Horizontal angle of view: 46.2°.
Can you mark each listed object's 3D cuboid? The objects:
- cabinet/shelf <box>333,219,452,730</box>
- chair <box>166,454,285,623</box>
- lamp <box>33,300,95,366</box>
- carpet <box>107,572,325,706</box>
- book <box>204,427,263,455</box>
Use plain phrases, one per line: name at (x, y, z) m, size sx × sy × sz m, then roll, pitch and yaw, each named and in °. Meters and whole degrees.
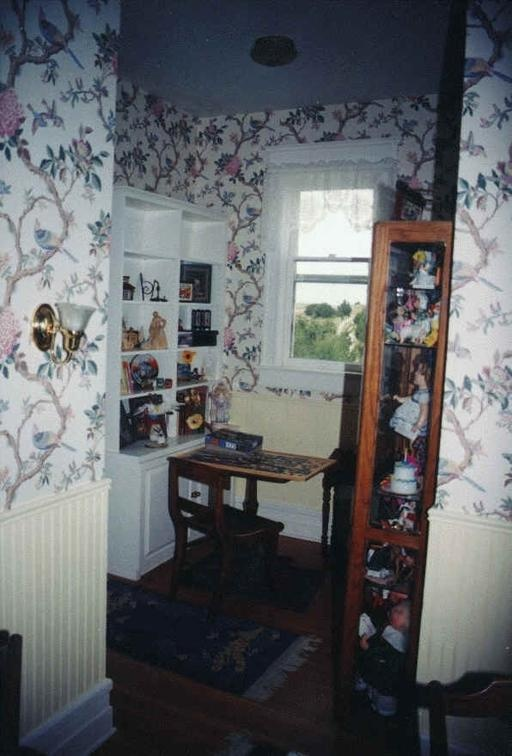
cabinet/shelf at (0.439, 0.322, 2.043) m, size 0.389 × 1.670 × 0.236 m, roll 6°, pitch 6°, yaw 34°
chair at (-0.148, 0.702, 2.873) m, size 0.496 × 0.673 × 0.487 m, roll 5°, pitch 8°, yaw 20°
lamp at (-0.524, -0.123, 1.608) m, size 0.165 × 0.198 × 0.152 m, roll 7°, pitch 9°, yaw 19°
carpet at (-0.275, 1.062, 2.510) m, size 0.975 × 0.055 × 0.523 m, roll 5°, pitch 6°, yaw 27°
book at (-0.120, 0.327, 3.113) m, size 0.190 × 0.062 × 0.142 m, roll 7°, pitch 9°, yaw 27°
